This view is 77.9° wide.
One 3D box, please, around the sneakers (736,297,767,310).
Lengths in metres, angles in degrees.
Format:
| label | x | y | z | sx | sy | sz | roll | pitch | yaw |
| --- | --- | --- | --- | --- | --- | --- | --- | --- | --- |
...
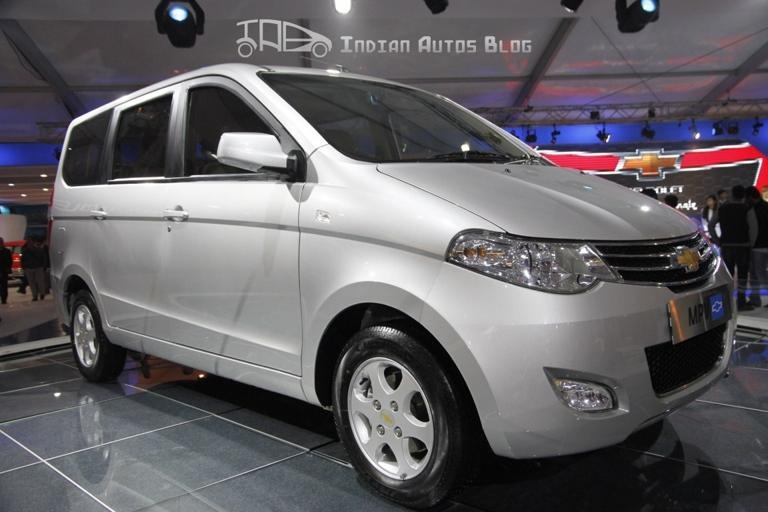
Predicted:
| label | x | y | z | sx | sy | sz | roll | pitch | yaw |
| --- | --- | --- | --- | --- | --- | --- | --- | --- | --- |
| sneakers | 5.250 | 0.667 | 6.843 | 0.540 | 0.206 | 0.161 | -3 | -1 | -12 |

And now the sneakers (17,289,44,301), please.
| label | x | y | z | sx | sy | sz | roll | pitch | yaw |
| --- | --- | --- | --- | --- | --- | --- | --- | --- | --- |
| sneakers | -6.295 | 0.672 | 8.312 | 0.581 | 0.239 | 0.186 | 1 | 1 | 0 |

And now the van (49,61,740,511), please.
| label | x | y | z | sx | sy | sz | roll | pitch | yaw |
| --- | --- | --- | --- | --- | --- | --- | --- | --- | --- |
| van | -0.336 | -0.120 | 3.254 | 4.005 | 1.751 | 2.287 | 3 | 4 | 42 |
